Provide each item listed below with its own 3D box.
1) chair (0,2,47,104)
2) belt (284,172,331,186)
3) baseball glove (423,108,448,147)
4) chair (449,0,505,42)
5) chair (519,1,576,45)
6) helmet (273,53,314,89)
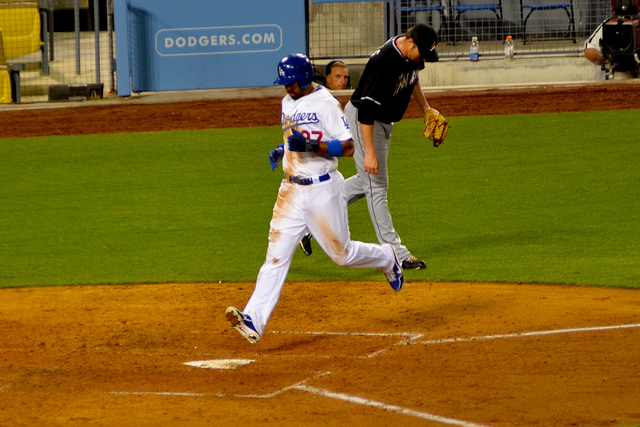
[{"bbox_3d":[-6.898,-3.742,33.950,1.042,2.227,2.487,-2,8,-11],"label":"chair"},{"bbox_3d":[-0.187,-0.480,21.339,0.665,0.184,0.108,1,8,4],"label":"belt"},{"bbox_3d":[1.864,-1.359,23.138,0.446,0.507,0.121,-8,11,21],"label":"baseball glove"},{"bbox_3d":[3.680,-4.748,34.736,1.364,1.016,1.003,-2,6,-4],"label":"chair"},{"bbox_3d":[5.436,-4.328,34.965,1.328,1.289,1.060,1,12,9],"label":"chair"},{"bbox_3d":[-0.421,-2.071,21.446,0.684,0.531,0.463,-20,23,-35],"label":"helmet"}]
